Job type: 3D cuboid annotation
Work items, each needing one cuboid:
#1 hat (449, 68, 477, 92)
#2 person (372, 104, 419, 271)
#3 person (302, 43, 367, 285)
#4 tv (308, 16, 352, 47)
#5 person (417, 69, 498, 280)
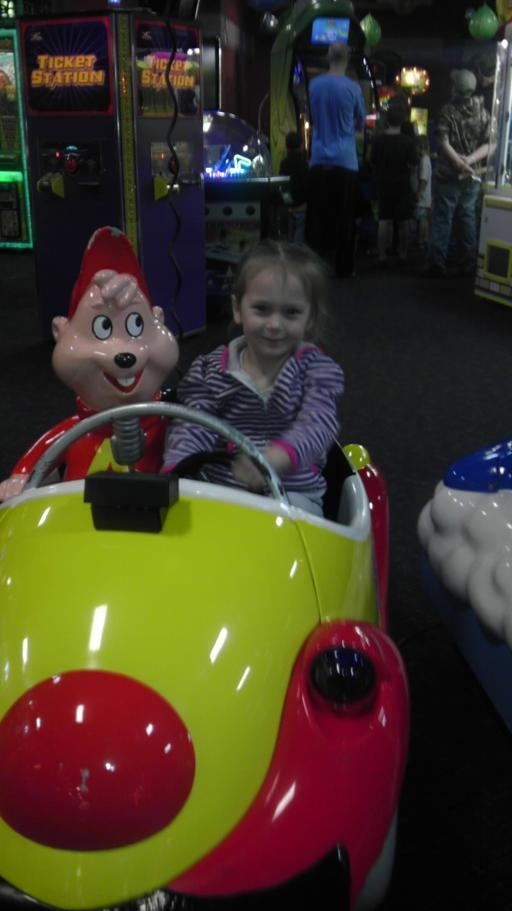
[{"bbox_3d":[2.065,-3.746,5.651,0.203,0.233,0.427,4,23,15],"label":"hat"},{"bbox_3d":[1.630,-3.256,6.733,0.503,1.831,0.530,13,59,20],"label":"person"},{"bbox_3d":[0.722,-2.806,5.448,0.374,1.922,0.373,10,21,26],"label":"person"},{"bbox_3d":[0.895,-5.146,6.894,0.490,0.307,0.439,2,22,8],"label":"tv"},{"bbox_3d":[2.082,-2.918,5.861,0.522,2.000,0.942,6,21,20],"label":"person"}]
